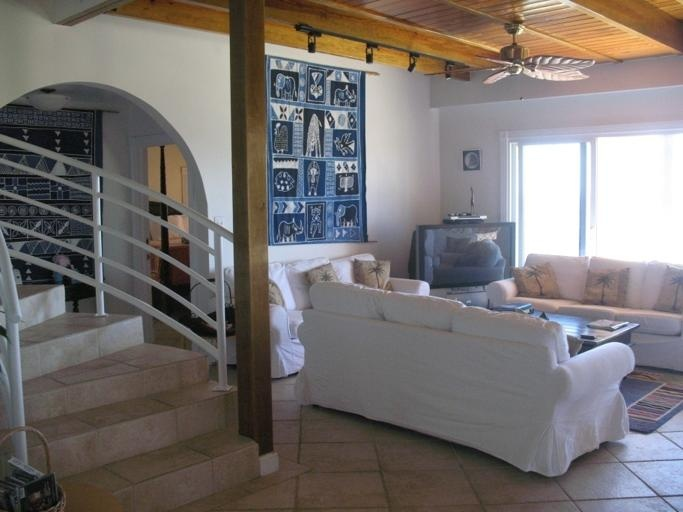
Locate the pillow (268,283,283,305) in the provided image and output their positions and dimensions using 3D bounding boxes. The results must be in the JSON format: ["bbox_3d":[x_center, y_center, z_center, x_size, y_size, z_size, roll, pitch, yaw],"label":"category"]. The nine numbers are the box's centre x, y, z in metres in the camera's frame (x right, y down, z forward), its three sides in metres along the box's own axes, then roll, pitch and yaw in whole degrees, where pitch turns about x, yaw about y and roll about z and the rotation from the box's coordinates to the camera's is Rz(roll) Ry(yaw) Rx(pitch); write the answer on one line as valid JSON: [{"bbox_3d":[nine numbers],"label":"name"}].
[{"bbox_3d":[-0.658,0.378,5.434,0.076,0.226,0.207,-21,-5,-4],"label":"pillow"}]

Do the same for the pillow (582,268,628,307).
[{"bbox_3d":[2.958,0.359,6.129,0.399,0.389,0.146,1,-22,39],"label":"pillow"}]

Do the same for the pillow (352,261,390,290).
[{"bbox_3d":[0.342,0.226,6.334,0.324,0.308,0.113,3,-22,-7],"label":"pillow"}]

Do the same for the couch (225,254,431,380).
[{"bbox_3d":[-0.171,0.529,4.578,0.466,0.518,1.278,2,4,42],"label":"couch"}]

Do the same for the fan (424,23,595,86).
[{"bbox_3d":[1.874,-2.246,6.016,0.886,0.327,0.958,5,5,33],"label":"fan"}]
